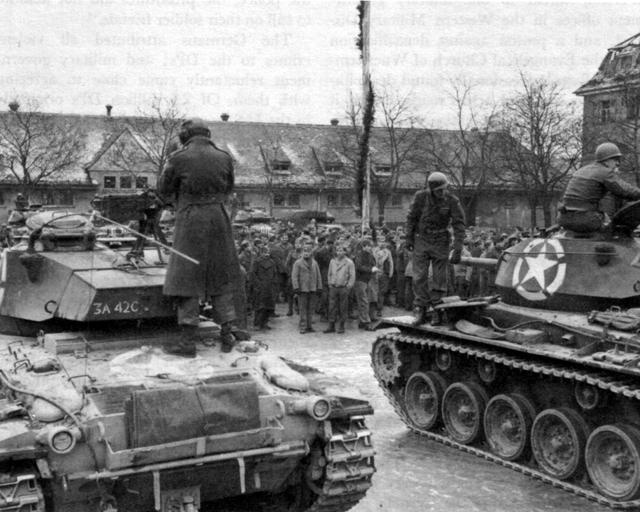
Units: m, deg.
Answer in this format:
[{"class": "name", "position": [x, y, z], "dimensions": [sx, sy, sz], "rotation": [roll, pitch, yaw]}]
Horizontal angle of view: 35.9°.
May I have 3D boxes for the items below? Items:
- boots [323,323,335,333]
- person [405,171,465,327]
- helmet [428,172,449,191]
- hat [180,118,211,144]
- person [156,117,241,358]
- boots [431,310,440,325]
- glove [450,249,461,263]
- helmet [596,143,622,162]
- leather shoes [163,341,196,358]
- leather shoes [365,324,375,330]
[{"class": "boots", "position": [0.205, 1.537, 20.682], "dimensions": [0.292, 0.209, 0.121], "rotation": [3, -5, 3]}, {"class": "person", "position": [1.588, -0.095, 13.725], "dimensions": [0.781, 2.115, 0.872], "rotation": [1, 2, 1]}, {"class": "helmet", "position": [1.634, -1.026, 13.690], "dimensions": [0.282, 0.276, 0.583], "rotation": [1, 1, 6]}, {"class": "hat", "position": [-1.370, -1.359, 10.831], "dimensions": [0.256, 0.321, 0.328], "rotation": [-1, 11, -5]}, {"class": "person", "position": [-1.317, -0.209, 10.762], "dimensions": [0.897, 2.564, 0.525], "rotation": [0, 2, -10]}, {"class": "boots", "position": [1.608, 0.862, 13.609], "dimensions": [0.146, 0.219, 0.113], "rotation": [1, 2, 6]}, {"class": "glove", "position": [1.841, -0.005, 13.467], "dimensions": [0.130, 0.185, 0.174], "rotation": [5, 39, 0]}, {"class": "helmet", "position": [3.744, -1.319, 12.775], "dimensions": [0.290, 0.229, 0.236], "rotation": [9, 5, 23]}, {"class": "leather shoes", "position": [-1.509, 1.014, 10.603], "dimensions": [0.356, 0.149, 0.257], "rotation": [0, 1, -10]}, {"class": "leather shoes", "position": [1.031, 1.508, 20.692], "dimensions": [0.264, 0.111, 0.359], "rotation": [0, 1, 2]}]
